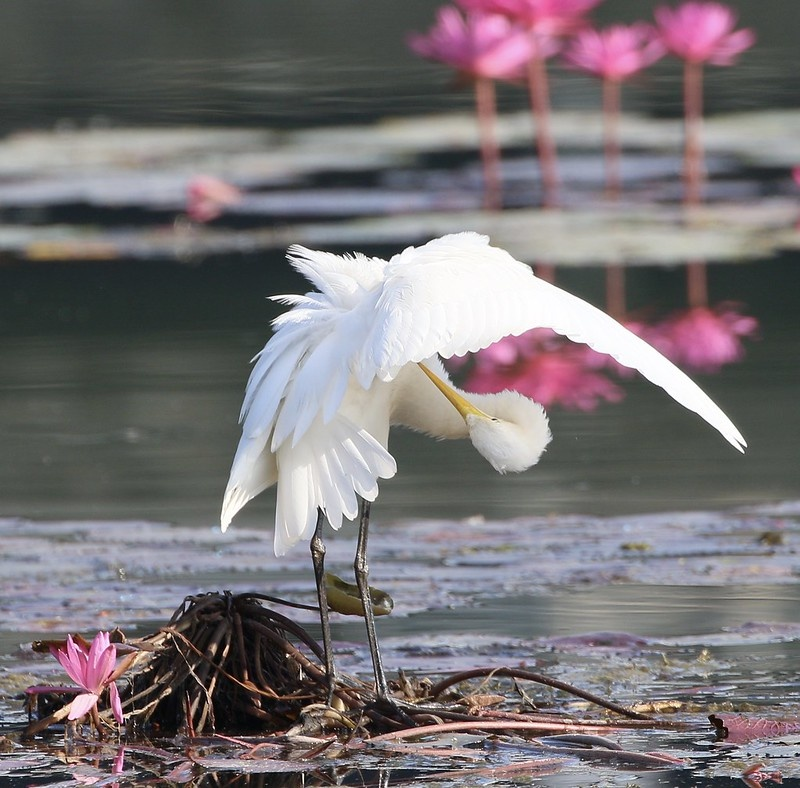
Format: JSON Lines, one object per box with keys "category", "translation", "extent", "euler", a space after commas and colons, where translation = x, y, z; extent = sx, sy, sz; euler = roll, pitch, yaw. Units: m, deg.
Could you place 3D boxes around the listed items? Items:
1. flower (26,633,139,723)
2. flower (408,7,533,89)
{"category": "flower", "translation": [-0.847, 0.836, 4.438], "extent": [0.356, 0.339, 0.224], "euler": [-4, 76, 20]}
{"category": "flower", "translation": [0.408, -1.902, 8.353], "extent": [0.583, 0.334, 0.342], "euler": [20, 52, 22]}
